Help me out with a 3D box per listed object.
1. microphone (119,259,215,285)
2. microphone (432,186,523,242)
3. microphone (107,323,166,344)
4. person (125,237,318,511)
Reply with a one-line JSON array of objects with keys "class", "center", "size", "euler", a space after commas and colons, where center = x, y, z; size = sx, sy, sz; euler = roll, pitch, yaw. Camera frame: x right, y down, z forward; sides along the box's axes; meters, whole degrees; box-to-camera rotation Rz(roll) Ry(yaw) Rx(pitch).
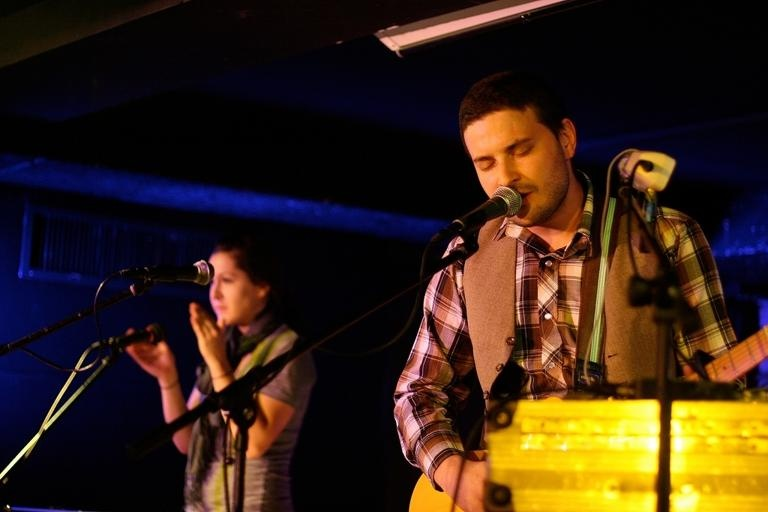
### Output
[{"class": "microphone", "center": [-1.042, 0.052, 3.444], "size": [0.413, 0.140, 0.154], "euler": [-1, 2, -31]}, {"class": "microphone", "center": [0.410, -0.182, 2.982], "size": [0.581, 0.171, 0.155], "euler": [-19, -19, -51]}, {"class": "microphone", "center": [-1.439, 0.467, 4.225], "size": [0.362, 0.111, 0.106], "euler": [-4, 5, -35]}, {"class": "person", "center": [-0.895, 0.633, 4.005], "size": [0.944, 1.489, 0.445], "euler": [-7, -15, 26]}]
